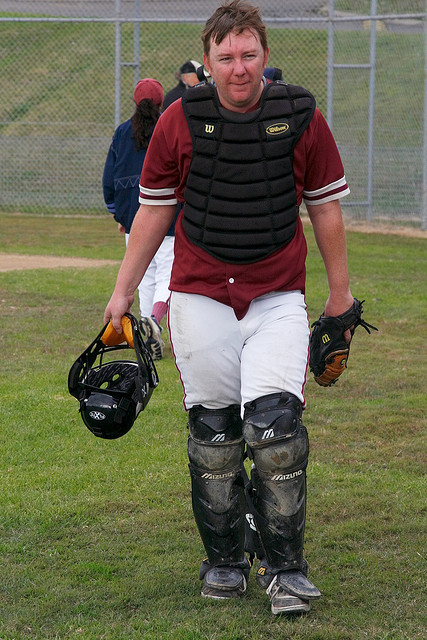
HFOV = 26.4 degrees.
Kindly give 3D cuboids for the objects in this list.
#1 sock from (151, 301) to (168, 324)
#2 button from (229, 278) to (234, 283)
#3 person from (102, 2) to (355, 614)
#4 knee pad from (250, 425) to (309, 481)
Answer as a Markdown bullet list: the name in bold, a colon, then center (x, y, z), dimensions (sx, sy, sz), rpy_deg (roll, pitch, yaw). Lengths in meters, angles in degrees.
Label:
- **sock**: center (-0.383, -0.081, 6.374), dimensions (0.084, 0.244, 0.099), rpy_deg (-1, 37, -9)
- **button**: center (0.055, -0.128, 2.932), dimensions (0.013, 0.013, 0.010), rpy_deg (-10, 17, -38)
- **person**: center (0.063, -0.033, 2.983), dimensions (0.739, 1.947, 0.553), rpy_deg (2, 14, 6)
- **knee pad**: center (0.204, 0.424, 2.955), dimensions (0.168, 0.136, 0.186), rpy_deg (-7, 22, 6)
